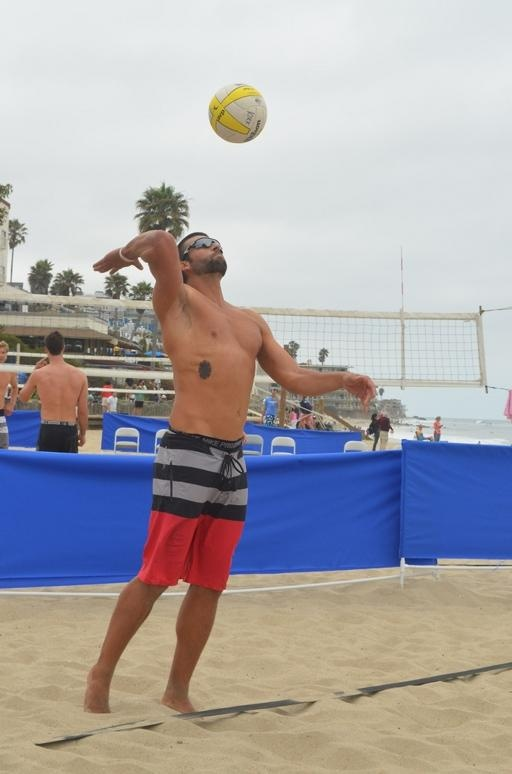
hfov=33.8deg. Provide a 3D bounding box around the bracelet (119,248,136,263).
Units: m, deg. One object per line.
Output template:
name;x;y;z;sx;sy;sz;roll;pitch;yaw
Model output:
bracelet;-0.431;-0.436;2.798;0.049;0.045;0.063;3;-3;-10

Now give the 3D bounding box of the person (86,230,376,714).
person;-0.097;0.268;2.905;0.989;1.697;0.508;3;-10;-9

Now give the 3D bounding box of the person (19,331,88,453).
person;-1.310;0.088;5.551;0.360;0.916;0.299;0;-1;33
